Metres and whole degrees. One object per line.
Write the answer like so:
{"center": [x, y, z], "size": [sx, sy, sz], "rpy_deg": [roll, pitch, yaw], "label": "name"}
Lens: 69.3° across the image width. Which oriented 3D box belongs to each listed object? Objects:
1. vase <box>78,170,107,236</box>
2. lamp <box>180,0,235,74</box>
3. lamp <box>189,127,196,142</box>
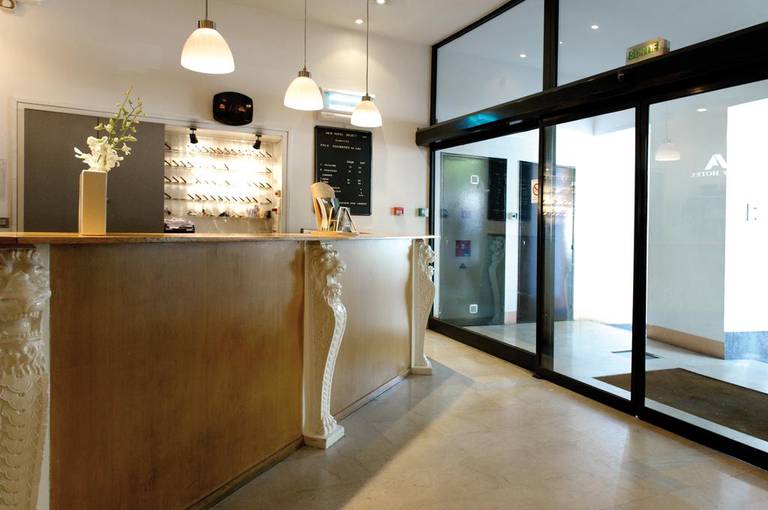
{"center": [-2.061, -0.377, 3.864], "size": [0.189, 0.434, 0.207], "rpy_deg": [0, 6, -9], "label": "vase"}
{"center": [-1.456, -1.719, 4.535], "size": [0.388, 0.404, 0.168], "rpy_deg": [-1, 6, -16], "label": "lamp"}
{"center": [-2.236, -1.395, 6.458], "size": [0.092, 0.164, 0.257], "rpy_deg": [-1, 6, -19], "label": "lamp"}
